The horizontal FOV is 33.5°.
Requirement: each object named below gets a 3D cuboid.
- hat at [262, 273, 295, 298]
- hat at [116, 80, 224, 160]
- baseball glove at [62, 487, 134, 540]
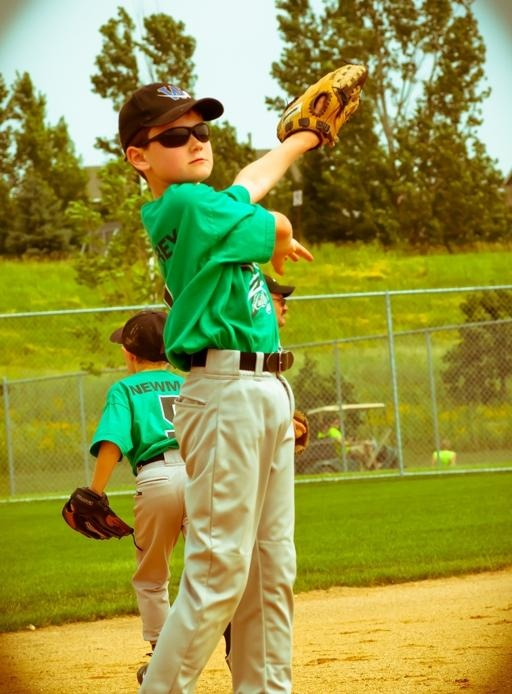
[{"bbox_3d":[0.084,-0.230,3.331,0.145,0.053,0.089,15,12,-1],"label":"hat"},{"bbox_3d":[-0.255,-0.643,2.304,0.211,0.147,0.293,-19,3,-44],"label":"hat"},{"bbox_3d":[-0.567,0.597,3.088,0.264,0.129,0.169,36,-40,-17],"label":"baseball glove"}]
